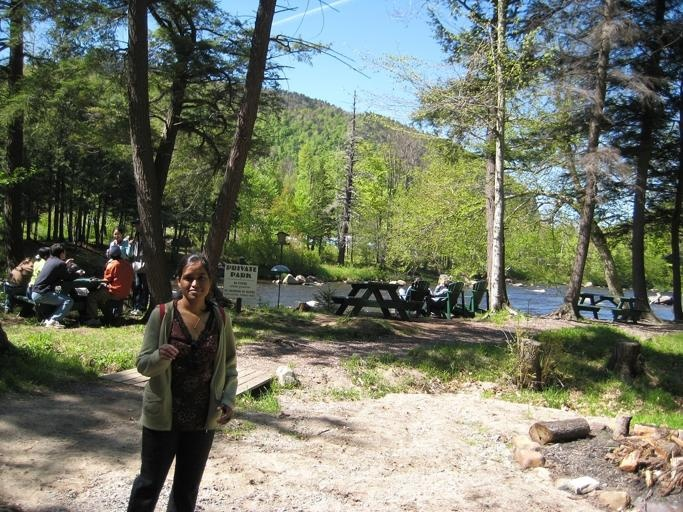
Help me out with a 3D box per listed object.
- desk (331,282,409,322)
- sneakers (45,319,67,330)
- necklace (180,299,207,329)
[{"bbox_3d":[0.955,1.266,20.019,1.624,0.854,2.072,6,-4,-40],"label":"desk"},{"bbox_3d":[-6.552,1.554,15.389,0.520,0.263,0.189,2,0,-9],"label":"sneakers"},{"bbox_3d":[-1.886,0.722,8.464,0.271,0.403,0.387,1,-14,-26],"label":"necklace"}]
